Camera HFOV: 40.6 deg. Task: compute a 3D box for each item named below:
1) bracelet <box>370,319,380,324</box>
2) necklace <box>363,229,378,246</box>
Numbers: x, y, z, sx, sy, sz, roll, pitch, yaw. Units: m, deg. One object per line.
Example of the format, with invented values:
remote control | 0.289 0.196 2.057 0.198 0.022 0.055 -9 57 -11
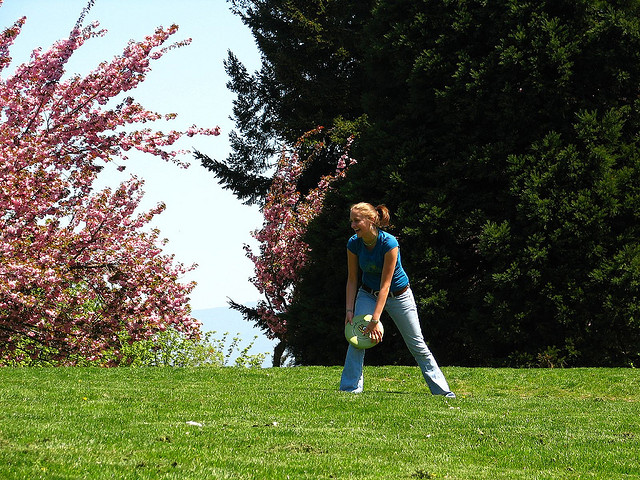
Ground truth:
bracelet | 1.024 1.540 16.427 0.170 0.079 0.133 2 -26 -2
necklace | 0.960 -0.066 16.531 0.251 0.234 0.248 -14 16 -42
